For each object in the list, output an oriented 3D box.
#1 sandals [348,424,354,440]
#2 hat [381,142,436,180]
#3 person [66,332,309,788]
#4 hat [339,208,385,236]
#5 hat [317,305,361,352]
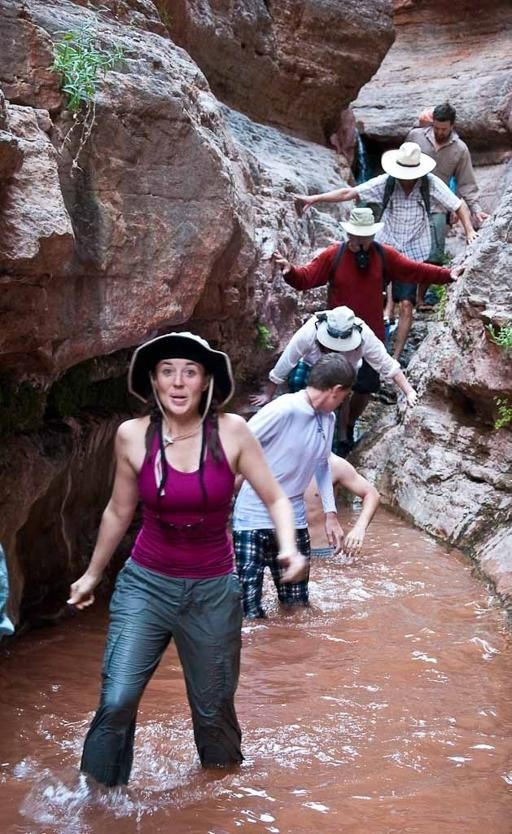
[{"bbox_3d":[1.009,0.159,7.503,0.067,0.158,0.153,-1,-7,3],"label":"sandals"},{"bbox_3d":[1.446,-2.473,6.727,0.445,0.188,0.513,4,51,8],"label":"hat"},{"bbox_3d":[-0.226,0.485,2.235,0.685,1.490,0.350,-2,2,-15],"label":"person"},{"bbox_3d":[0.871,-1.624,5.806,0.296,0.280,0.335,-2,1,9],"label":"hat"},{"bbox_3d":[0.622,-0.655,5.215,0.298,0.153,0.356,0,46,0],"label":"hat"}]
